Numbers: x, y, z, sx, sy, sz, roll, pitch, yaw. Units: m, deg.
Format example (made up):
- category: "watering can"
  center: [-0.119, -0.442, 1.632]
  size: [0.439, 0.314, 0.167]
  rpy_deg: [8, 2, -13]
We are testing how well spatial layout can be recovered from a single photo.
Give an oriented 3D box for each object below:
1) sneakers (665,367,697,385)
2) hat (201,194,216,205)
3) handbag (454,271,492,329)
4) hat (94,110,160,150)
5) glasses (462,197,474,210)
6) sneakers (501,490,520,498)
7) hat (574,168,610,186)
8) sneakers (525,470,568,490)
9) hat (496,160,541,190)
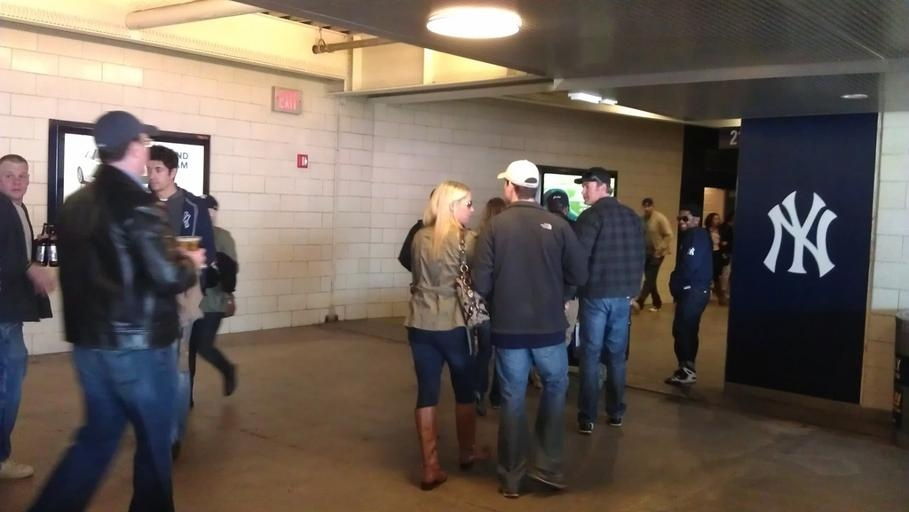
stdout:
- category: "sneakers"
  center: [2.865, 1.504, 7.852]
  size: [0.394, 0.181, 0.208]
  rpy_deg: [4, -6, -32]
- category: "hat"
  center: [-2.703, -0.618, 6.889]
  size: [0.205, 0.076, 0.269]
  rpy_deg: [3, 5, -24]
- category: "handbag"
  center: [0.162, 0.400, 5.740]
  size: [0.310, 0.472, 0.158]
  rpy_deg: [-19, 1, -1]
- category: "hat"
  center: [-2.565, -0.973, 4.865]
  size: [0.387, 0.199, 0.275]
  rpy_deg: [-25, 25, -27]
- category: "glasses"
  center: [0.132, -0.507, 5.913]
  size: [0.126, 0.068, 0.165]
  rpy_deg: [2, -6, -10]
- category: "sneakers"
  center: [0.516, 2.166, 5.709]
  size: [0.165, 0.064, 0.057]
  rpy_deg: [5, 2, -9]
- category: "hat"
  center: [1.523, -0.868, 6.877]
  size: [0.356, 0.171, 0.244]
  rpy_deg: [6, 5, 5]
- category: "sneakers"
  center: [0.876, 2.058, 5.855]
  size: [0.398, 0.160, 0.142]
  rpy_deg: [17, -15, 18]
- category: "hat"
  center: [0.590, -0.763, 5.935]
  size: [0.320, 0.229, 0.414]
  rpy_deg: [-7, 24, -37]
